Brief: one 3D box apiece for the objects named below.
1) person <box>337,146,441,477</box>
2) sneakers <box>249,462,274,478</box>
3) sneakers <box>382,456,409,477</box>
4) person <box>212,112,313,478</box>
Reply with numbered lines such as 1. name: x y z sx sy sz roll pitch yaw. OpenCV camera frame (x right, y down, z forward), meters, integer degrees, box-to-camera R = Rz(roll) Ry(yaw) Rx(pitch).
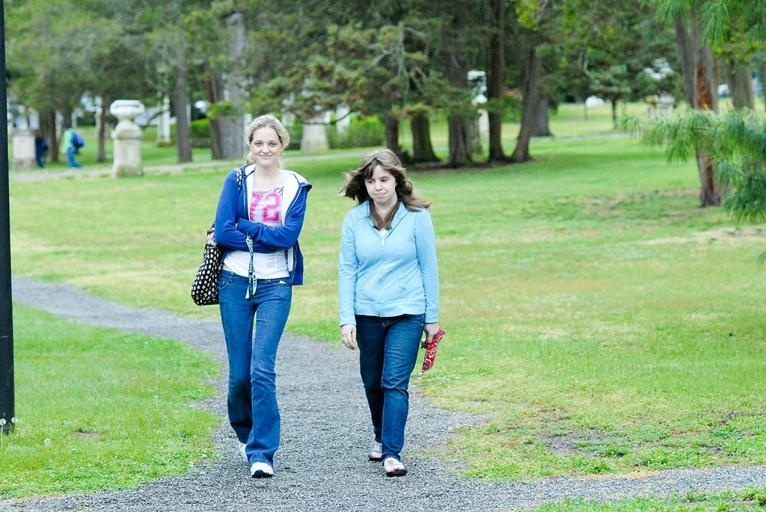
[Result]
1. person: 0.062 0.475 11.031 0.820 2.696 0.477 -3 5 -1
2. sneakers: -0.990 1.769 10.948 0.110 0.074 0.187 -4 -27 -10
3. sneakers: 0.094 1.755 11.018 0.135 0.138 0.333 0 -8 -8
4. person: -0.990 0.336 11.088 0.706 2.979 0.514 -6 6 -35
